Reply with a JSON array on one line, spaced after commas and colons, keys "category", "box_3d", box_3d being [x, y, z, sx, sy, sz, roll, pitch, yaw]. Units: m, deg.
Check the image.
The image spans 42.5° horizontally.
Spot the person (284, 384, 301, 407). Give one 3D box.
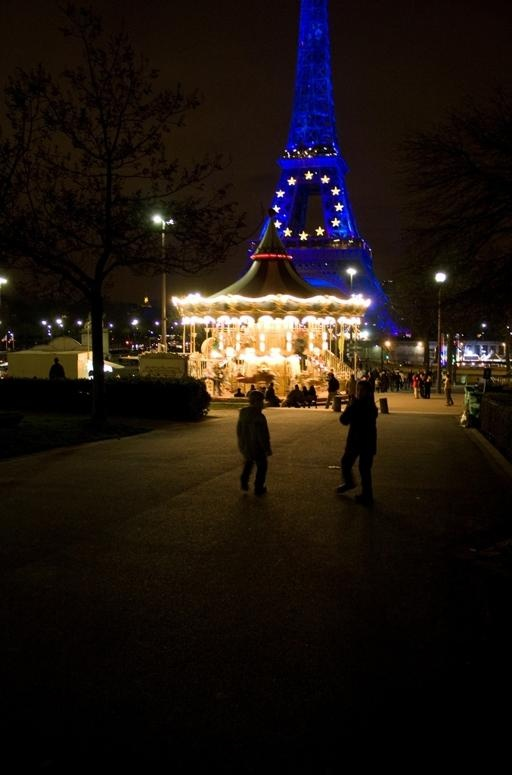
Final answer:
[{"category": "person", "box_3d": [1.670, 0.421, 28.507, 0.754, 1.171, 0.830, 3, -6, 1]}]

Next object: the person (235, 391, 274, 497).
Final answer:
[{"category": "person", "box_3d": [-0.034, 0.773, 9.350, 0.455, 1.082, 0.694, 1, 0, -2]}]

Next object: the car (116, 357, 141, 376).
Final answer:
[{"category": "car", "box_3d": [-9.997, -1.720, 51.342, 1.851, 1.359, 1.896, 1, 8, -3]}]
